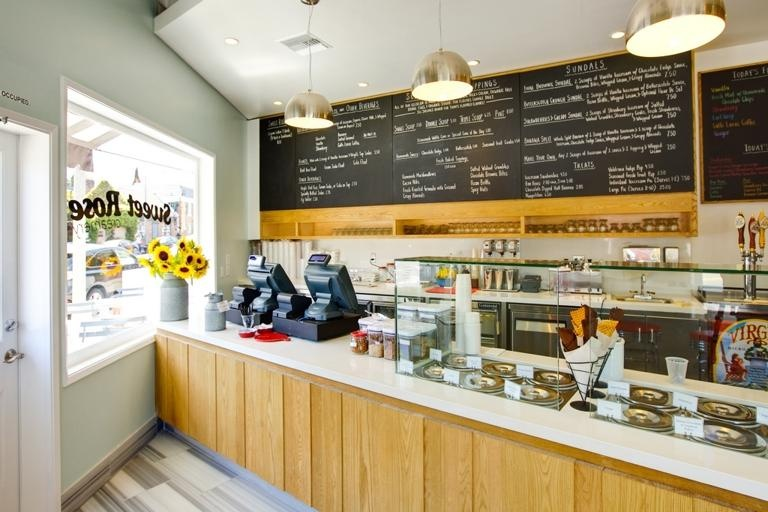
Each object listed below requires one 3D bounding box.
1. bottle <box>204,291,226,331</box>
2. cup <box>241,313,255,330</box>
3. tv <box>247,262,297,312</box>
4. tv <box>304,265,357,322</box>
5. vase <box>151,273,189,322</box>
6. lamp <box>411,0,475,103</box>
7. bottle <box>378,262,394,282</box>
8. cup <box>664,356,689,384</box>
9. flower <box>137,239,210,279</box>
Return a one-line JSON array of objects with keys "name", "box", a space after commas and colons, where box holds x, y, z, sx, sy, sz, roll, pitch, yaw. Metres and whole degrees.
[{"name": "bottle", "box": [-1.349, 0.440, 4.240, 0.170, 0.286, 0.203, -2, 2, -19]}, {"name": "cup", "box": [-1.025, 0.500, 4.092, 0.115, 0.141, 0.111, -2, -3, 0]}, {"name": "tv", "box": [-0.898, 0.234, 4.185, 0.327, 0.427, 0.430, 1, 2, 30]}, {"name": "tv", "box": [-0.391, 0.228, 4.042, 0.440, 0.433, 0.393, 2, 4, 33]}, {"name": "vase", "box": [-1.811, 0.351, 4.590, 0.368, 0.572, 0.352, -1, -2, -12]}, {"name": "lamp", "box": [0.385, -1.221, 3.569, 0.394, 0.278, 0.330, -2, 2, -1]}, {"name": "bottle", "box": [0.041, 0.176, 5.943, 0.196, 0.222, 0.203, -1, 1, 13]}, {"name": "cup", "box": [1.596, 0.611, 2.903, 0.138, 0.138, 0.133, -1, -2, 0]}, {"name": "flower", "box": [-1.836, 0.015, 4.759, 0.467, 0.434, 0.226, 2, -17, -17]}]
